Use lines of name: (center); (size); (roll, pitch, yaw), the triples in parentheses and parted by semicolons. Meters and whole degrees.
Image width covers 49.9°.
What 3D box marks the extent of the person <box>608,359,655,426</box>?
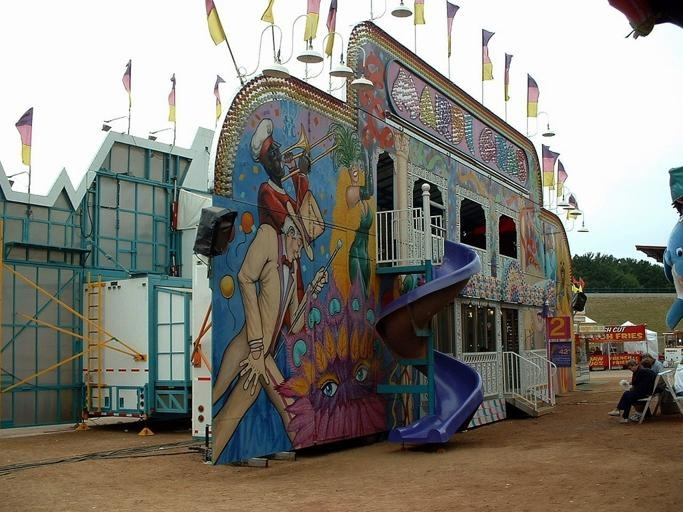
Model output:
person: (6.867, 3.166, 17.244); (0.772, 1.550, 0.959); (3, 0, 41)

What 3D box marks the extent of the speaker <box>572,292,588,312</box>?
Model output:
speaker: (9.930, 1.916, 30.736); (0.468, 0.749, 1.282); (-1, -2, 22)

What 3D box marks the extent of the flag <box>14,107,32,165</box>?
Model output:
flag: (-8.857, -3.353, 20.545); (0.381, 1.696, 0.666); (0, -2, -29)

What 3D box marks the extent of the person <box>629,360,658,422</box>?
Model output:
person: (6.803, 3.164, 17.418); (0.980, 1.246, 1.549); (-2, -10, 14)

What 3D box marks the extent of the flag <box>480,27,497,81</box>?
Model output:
flag: (4.578, -6.120, 22.890); (0.390, 0.167, 2.256); (-1, -39, 10)

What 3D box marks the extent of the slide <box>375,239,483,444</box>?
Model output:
slide: (1.953, 1.762, 15.820); (1.931, 4.469, 2.099); (-10, -16, 42)
